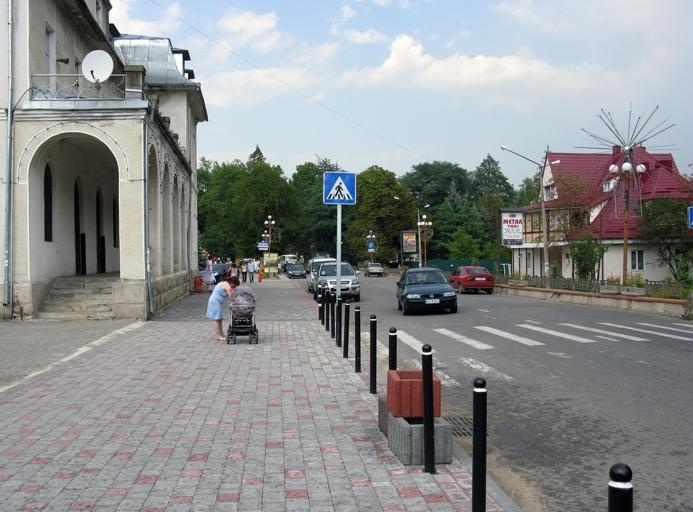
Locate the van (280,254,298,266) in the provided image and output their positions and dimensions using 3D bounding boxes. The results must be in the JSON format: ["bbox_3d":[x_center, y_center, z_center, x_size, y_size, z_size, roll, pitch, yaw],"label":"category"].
[{"bbox_3d":[-7.373,0.575,94.259,1.271,1.263,2.387,0,4,-9],"label":"van"}]

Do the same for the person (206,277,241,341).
[{"bbox_3d":[-3.038,1.138,17.843,0.710,1.776,0.683,8,1,1],"label":"person"}]

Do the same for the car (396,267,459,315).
[{"bbox_3d":[2.663,1.211,24.792,1.427,1.290,3.764,0,-1,-2],"label":"car"}]

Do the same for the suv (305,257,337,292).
[{"bbox_3d":[-1.260,0.862,36.348,1.159,1.157,2.021,0,-4,-8],"label":"suv"}]

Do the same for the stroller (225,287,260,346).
[{"bbox_3d":[-2.207,1.387,17.295,0.670,1.399,1.259,0,-5,-7],"label":"stroller"}]

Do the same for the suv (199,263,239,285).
[{"bbox_3d":[-6.937,0.947,39.494,1.686,0.922,1.104,4,-6,-42],"label":"suv"}]

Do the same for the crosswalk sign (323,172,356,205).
[{"bbox_3d":[-0.154,-1.619,17.584,0.716,0.784,1.445,0,6,-4],"label":"crosswalk sign"}]
